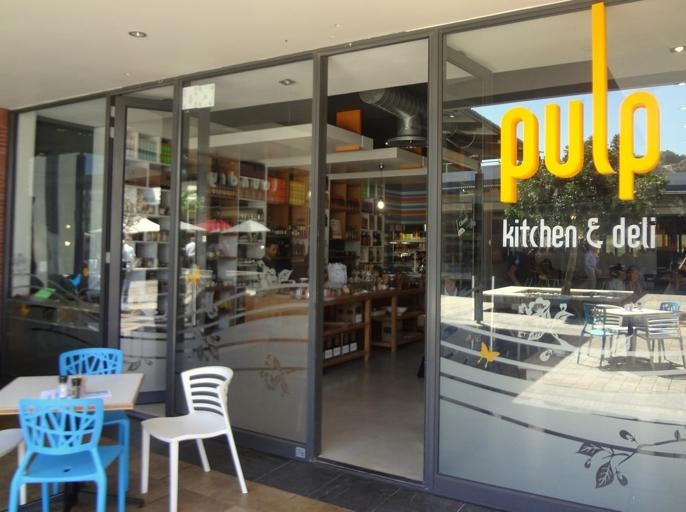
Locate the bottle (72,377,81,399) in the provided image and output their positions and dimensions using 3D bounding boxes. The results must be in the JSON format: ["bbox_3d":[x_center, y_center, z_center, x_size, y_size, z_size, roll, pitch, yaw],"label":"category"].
[{"bbox_3d":[-1.920,0.952,3.911,0.070,0.121,0.169,-2,6,-30],"label":"bottle"}]

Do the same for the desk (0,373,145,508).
[{"bbox_3d":[-2.054,1.344,4.156,0.997,0.880,1.047,-1,6,-20],"label":"desk"}]
